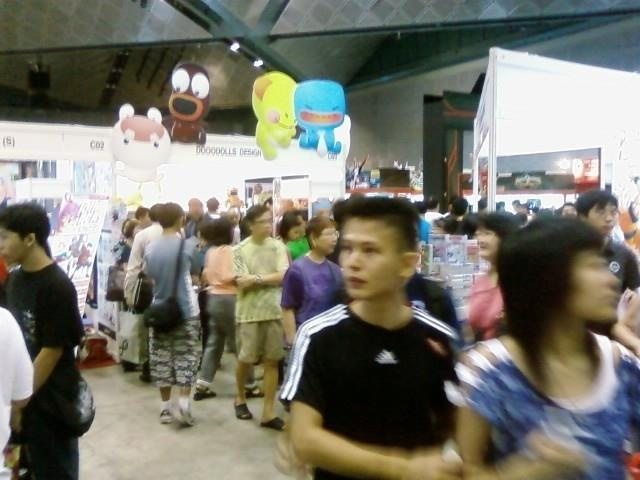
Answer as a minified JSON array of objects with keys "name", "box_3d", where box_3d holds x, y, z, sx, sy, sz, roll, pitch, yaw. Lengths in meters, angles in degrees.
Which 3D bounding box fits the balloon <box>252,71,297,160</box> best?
[{"name":"balloon","box_3d":[-0.541,-1.550,6.178,0.536,1.110,0.360,-1,5,-6]}]

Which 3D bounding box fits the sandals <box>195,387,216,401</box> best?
[{"name":"sandals","box_3d":[-1.144,1.547,5.052,0.097,0.099,0.224,2,2,30]}]

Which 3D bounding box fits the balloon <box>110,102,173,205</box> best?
[{"name":"balloon","box_3d":[-2.311,-1.156,6.430,0.713,1.138,0.672,-7,26,-33]}]

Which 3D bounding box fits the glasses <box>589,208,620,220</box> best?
[{"name":"glasses","box_3d":[1.720,-0.160,3.065,0.088,0.048,0.115,1,-3,2]}]

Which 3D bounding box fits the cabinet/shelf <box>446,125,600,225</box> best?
[{"name":"cabinet/shelf","box_3d":[2.242,-0.447,5.277,1.191,0.417,1.168,0,36,29]}]

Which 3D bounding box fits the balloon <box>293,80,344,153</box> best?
[{"name":"balloon","box_3d":[-0.009,-1.523,6.177,0.625,0.852,0.276,-4,6,-36]}]

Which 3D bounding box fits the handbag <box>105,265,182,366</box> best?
[{"name":"handbag","box_3d":[-1.699,0.721,4.865,0.499,1.533,1.088,-3,6,-30]}]

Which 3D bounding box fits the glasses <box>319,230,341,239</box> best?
[{"name":"glasses","box_3d":[0.075,-0.042,3.730,0.044,0.079,0.142,3,7,43]}]

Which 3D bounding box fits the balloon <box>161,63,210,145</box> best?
[{"name":"balloon","box_3d":[-1.875,-1.975,7.192,0.571,1.171,0.504,-2,5,-16]}]
